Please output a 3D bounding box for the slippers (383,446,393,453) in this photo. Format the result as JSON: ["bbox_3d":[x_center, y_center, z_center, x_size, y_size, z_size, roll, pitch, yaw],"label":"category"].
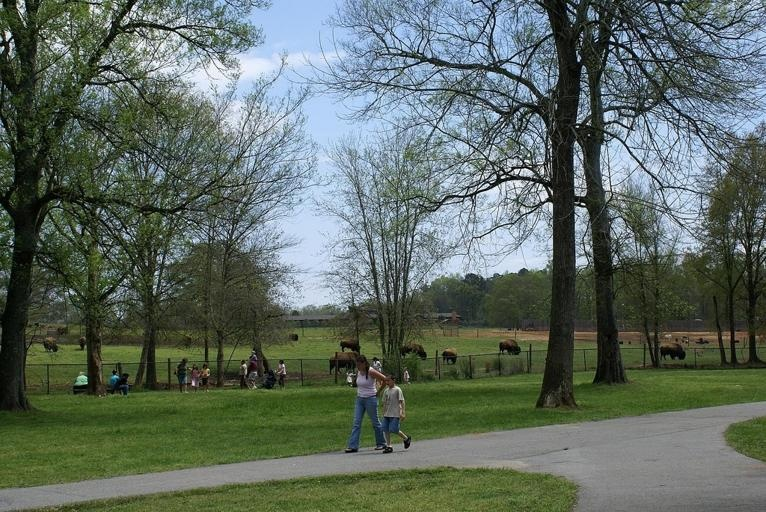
[{"bbox_3d":[0.152,6.382,28.239,0.127,0.173,0.397,-4,-14,18],"label":"slippers"}]

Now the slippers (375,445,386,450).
[{"bbox_3d":[-0.101,6.390,28.538,0.124,0.144,0.358,-2,-12,12],"label":"slippers"}]

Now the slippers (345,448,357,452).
[{"bbox_3d":[-1.068,6.413,28.307,0.395,0.177,0.146,6,-7,-8],"label":"slippers"}]

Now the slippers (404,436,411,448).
[{"bbox_3d":[0.792,6.209,28.614,0.183,0.461,0.148,1,-2,-19],"label":"slippers"}]

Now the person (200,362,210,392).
[{"bbox_3d":[-10.792,7.226,51.866,0.376,1.532,2.268,-1,-3,-15],"label":"person"}]

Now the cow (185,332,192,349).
[{"bbox_3d":[-13.046,5.625,57.591,0.449,0.824,1.246,-1,-3,-17],"label":"cow"}]
